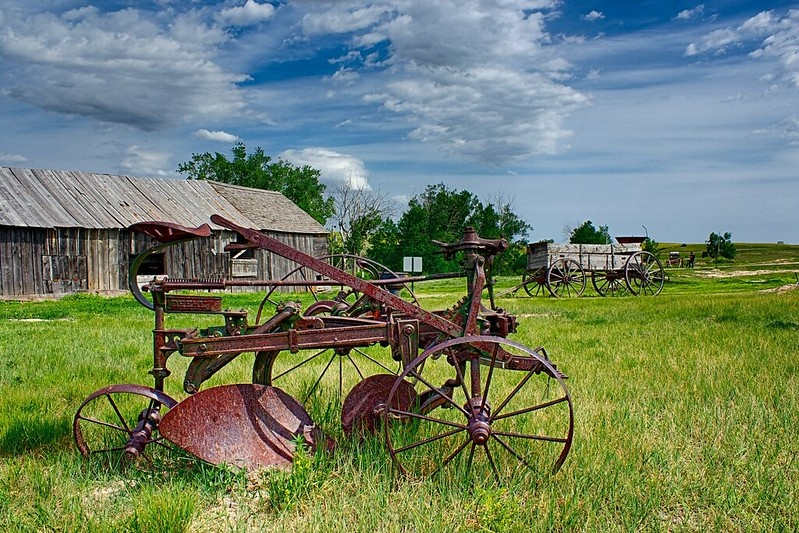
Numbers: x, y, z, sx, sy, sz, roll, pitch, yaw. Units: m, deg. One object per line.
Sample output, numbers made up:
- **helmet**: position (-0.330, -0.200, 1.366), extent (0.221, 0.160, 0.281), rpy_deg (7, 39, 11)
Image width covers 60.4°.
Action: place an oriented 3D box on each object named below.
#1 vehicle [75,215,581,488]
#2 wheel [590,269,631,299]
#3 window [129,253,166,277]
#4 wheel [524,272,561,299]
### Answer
- **vehicle**: position (-0.931, 1.229, 7.900), extent (4.691, 2.417, 3.209), rpy_deg (-1, 0, -9)
- **wheel**: position (7.518, 0.638, 24.420), extent (1.273, 1.308, 0.320), rpy_deg (-19, -42, 6)
- **window**: position (-7.528, -0.070, 20.594), extent (0.507, 0.677, 0.951), rpy_deg (0, 4, 20)
- **wheel**: position (4.806, 0.609, 22.972), extent (1.275, 0.507, 0.805), rpy_deg (-2, -3, -29)
